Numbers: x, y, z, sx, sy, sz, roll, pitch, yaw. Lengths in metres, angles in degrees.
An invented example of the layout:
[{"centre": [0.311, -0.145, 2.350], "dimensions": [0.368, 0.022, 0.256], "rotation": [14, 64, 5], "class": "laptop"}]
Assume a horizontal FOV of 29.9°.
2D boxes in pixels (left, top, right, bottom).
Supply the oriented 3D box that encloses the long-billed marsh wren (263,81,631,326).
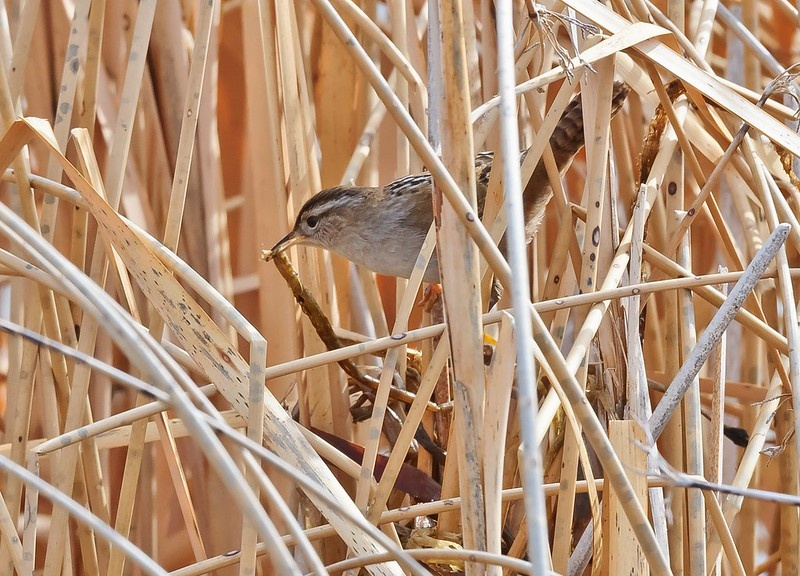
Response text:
[{"centre": [0.080, -0.094, 3.795], "dimensions": [0.824, 0.725, 0.450], "rotation": [-6, -61, 3], "class": "long-billed marsh wren"}]
